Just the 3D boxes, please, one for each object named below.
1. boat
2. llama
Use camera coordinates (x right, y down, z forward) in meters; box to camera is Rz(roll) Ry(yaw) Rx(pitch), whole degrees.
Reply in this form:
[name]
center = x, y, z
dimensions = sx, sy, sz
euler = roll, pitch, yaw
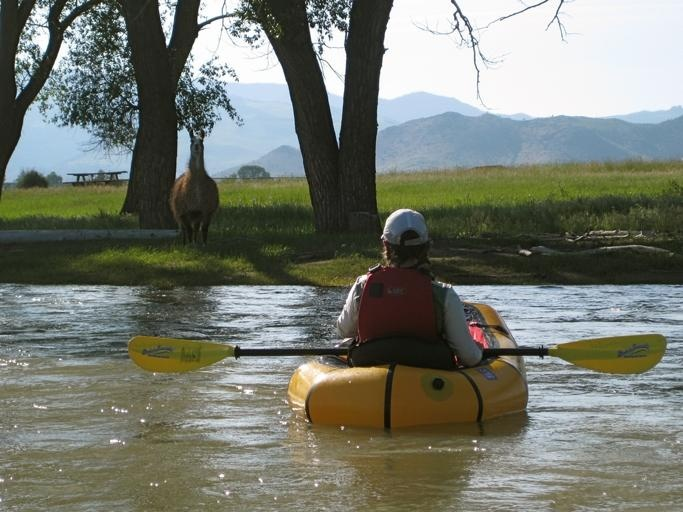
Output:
[boat]
center = 1.127, 1.644, 16.568
dimensions = 3.326, 1.516, 5.051
euler = -1, 6, 15
[llama]
center = -3.253, -1.396, 24.895
dimensions = 1.051, 2.584, 2.391
euler = -3, 14, -8
